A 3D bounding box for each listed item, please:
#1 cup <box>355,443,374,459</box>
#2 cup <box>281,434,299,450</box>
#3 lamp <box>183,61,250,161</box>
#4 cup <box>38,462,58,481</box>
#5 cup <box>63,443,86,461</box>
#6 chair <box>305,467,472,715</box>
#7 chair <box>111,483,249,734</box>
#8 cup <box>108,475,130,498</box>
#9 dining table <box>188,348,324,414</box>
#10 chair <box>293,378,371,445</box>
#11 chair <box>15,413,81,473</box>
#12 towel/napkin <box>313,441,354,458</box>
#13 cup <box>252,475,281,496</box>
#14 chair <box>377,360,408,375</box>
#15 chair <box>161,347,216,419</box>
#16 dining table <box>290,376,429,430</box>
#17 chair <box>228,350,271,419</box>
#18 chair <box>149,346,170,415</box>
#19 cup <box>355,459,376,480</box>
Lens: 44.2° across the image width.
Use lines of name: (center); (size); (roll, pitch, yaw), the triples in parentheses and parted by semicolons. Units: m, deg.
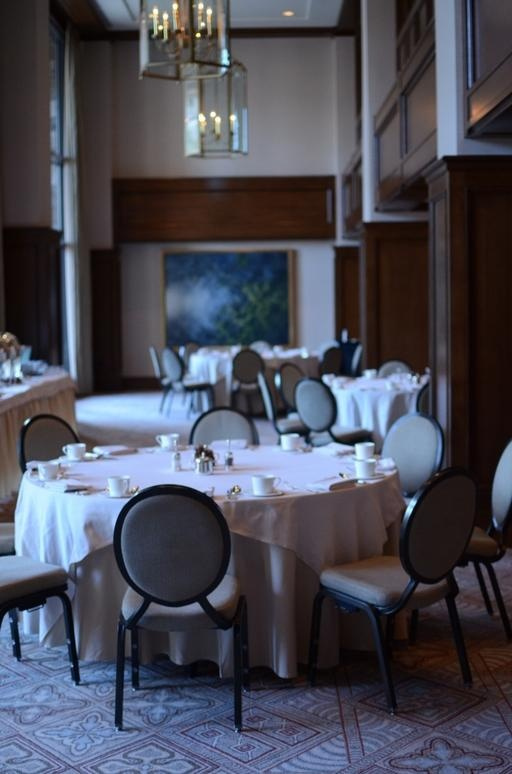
cup: (0.455, 0.259, 2.626); (0.067, 0.067, 0.064); (-2, 6, 0)
cup: (0.168, 0.258, 3.056); (0.061, 0.066, 0.072); (0, -1, 8)
lamp: (-0.417, -3.142, 7.066); (0.739, 0.988, 0.715); (-1, -1, -14)
cup: (-0.774, 0.311, 2.362); (0.048, 0.064, 0.072); (4, 7, 14)
cup: (-0.816, 0.283, 2.834); (0.078, 0.081, 0.071); (-1, 4, 0)
chair: (0.429, 0.557, 1.931); (0.318, 0.715, 0.399); (-2, 8, -21)
chair: (-0.185, 0.605, 1.738); (0.396, 0.713, 0.347); (-1, -1, -16)
cup: (-0.448, 0.320, 2.073); (0.049, 0.060, 0.068); (-2, 7, -32)
dining table: (0.413, -0.141, 9.344); (0.992, 0.540, 1.131); (-16, -11, 16)
chair: (0.572, 0.197, 5.066); (0.387, 0.525, 0.629); (-2, -1, 38)
chair: (-1.011, 0.236, 3.077); (0.228, 0.511, 0.264); (0, 1, -41)
towel/napkin: (0.406, 0.322, 3.292); (0.122, 0.055, 0.135); (1, -4, 31)
cup: (0.032, 0.319, 2.107); (0.064, 0.064, 0.060); (1, -1, 0)
chair: (1.466, -0.206, 6.712); (0.285, 0.182, 0.434); (-1, -1, -9)
chair: (-1.057, -0.102, 8.901); (0.597, 1.072, 0.623); (-2, 7, -30)
dining table: (1.042, 0.111, 5.615); (0.605, 0.606, 0.714); (-1, 1, -10)
chair: (-0.094, 0.184, 8.451); (0.447, 0.678, 1.106); (-3, 48, -4)
chair: (-1.476, -0.141, 9.858); (0.426, 1.088, 0.553); (-4, 5, -23)
cup: (0.415, 0.304, 2.348); (0.049, 0.066, 0.076); (-2, -4, 1)
